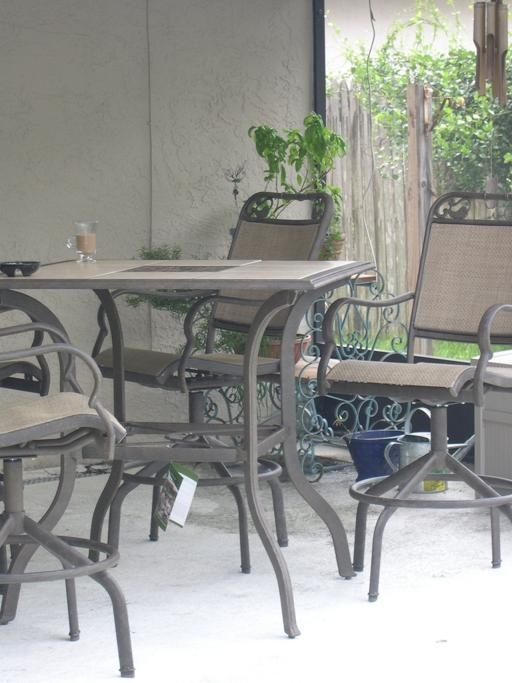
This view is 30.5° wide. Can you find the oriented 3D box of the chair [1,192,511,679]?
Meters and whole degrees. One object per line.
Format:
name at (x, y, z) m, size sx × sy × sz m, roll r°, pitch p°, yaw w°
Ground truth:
chair at (-0.073, 0.234, 2.324) m, size 1.317 × 0.860 × 0.825 m, roll -6°, pitch 8°, yaw -40°
